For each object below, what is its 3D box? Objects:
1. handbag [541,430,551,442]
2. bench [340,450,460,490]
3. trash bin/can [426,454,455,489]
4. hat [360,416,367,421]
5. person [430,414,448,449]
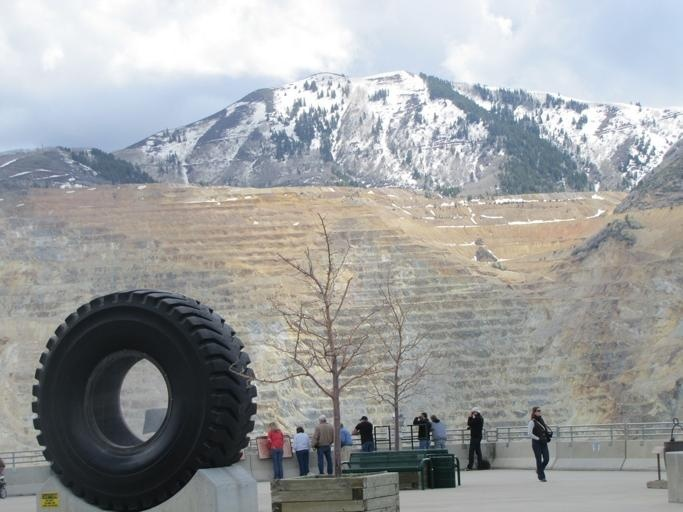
[{"bbox_3d":[12.811,11.202,82.056,0.441,0.674,0.767,-5,-7,20],"label":"handbag"},{"bbox_3d":[4.274,13.285,81.982,6.016,2.436,1.293,-3,-7,2],"label":"bench"},{"bbox_3d":[6.043,13.388,82.479,1.972,1.803,1.956,-2,-5,12],"label":"trash bin/can"},{"bbox_3d":[1.373,10.636,86.251,0.399,0.281,0.522,9,-9,-19],"label":"hat"},{"bbox_3d":[6.314,11.534,86.617,0.909,2.142,1.398,-3,-7,3],"label":"person"}]
